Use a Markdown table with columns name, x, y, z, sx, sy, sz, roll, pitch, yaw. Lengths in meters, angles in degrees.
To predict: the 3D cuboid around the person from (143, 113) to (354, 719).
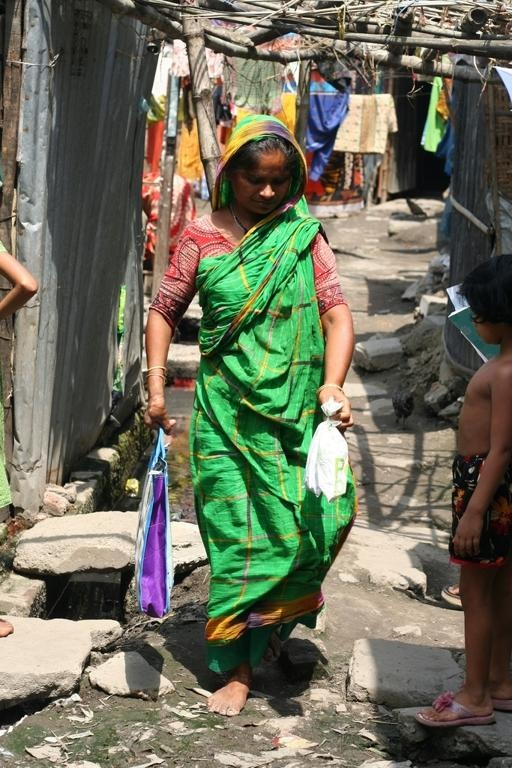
| name | x | y | z | sx | sy | sz | roll | pitch | yaw |
| --- | --- | --- | --- | --- | --- | --- | --- | --- | --- |
| person | -0.018 | 0.026 | 2.717 | 0.715 | 1.732 | 0.437 | 4 | 6 | 6 |

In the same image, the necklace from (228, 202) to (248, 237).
| name | x | y | z | sx | sy | sz | roll | pitch | yaw |
| --- | --- | --- | --- | --- | --- | --- | --- | --- | --- |
| necklace | -0.059 | -0.533 | 2.781 | 0.027 | 0.099 | 0.074 | -17 | 10 | -3 |

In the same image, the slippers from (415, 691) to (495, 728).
| name | x | y | z | sx | sy | sz | roll | pitch | yaw |
| --- | --- | --- | --- | --- | --- | --- | --- | --- | --- |
| slippers | 0.557 | 0.883 | 2.346 | 0.181 | 0.068 | 0.094 | 2 | -3 | 6 |
